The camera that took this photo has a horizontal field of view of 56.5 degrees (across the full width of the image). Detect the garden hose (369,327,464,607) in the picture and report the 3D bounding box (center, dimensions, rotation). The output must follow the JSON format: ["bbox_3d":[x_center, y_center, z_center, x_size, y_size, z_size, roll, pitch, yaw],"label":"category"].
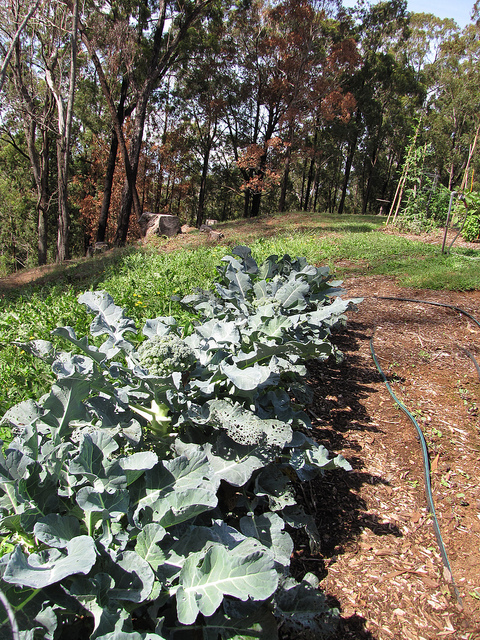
[{"bbox_3d":[0.969,0.700,2.690,0.107,0.087,1.892,-13,24,3],"label":"garden hose"}]
